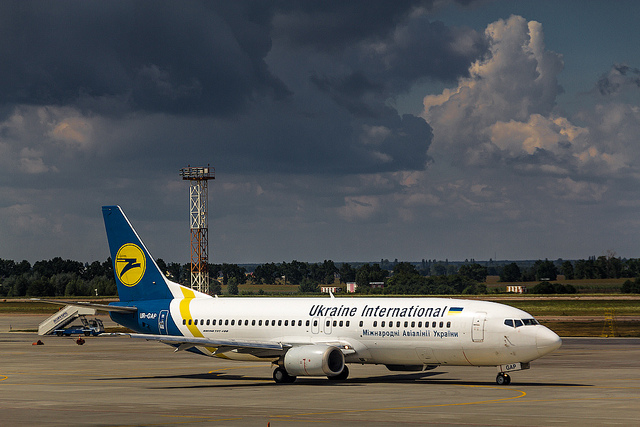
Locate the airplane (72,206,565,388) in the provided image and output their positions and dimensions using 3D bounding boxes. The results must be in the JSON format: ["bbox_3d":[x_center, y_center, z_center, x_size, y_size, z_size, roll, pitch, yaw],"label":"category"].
[{"bbox_3d":[-0.897,7.320,99.315,44.192,14.941,32.358,-1,1,20],"label":"airplane"}]
